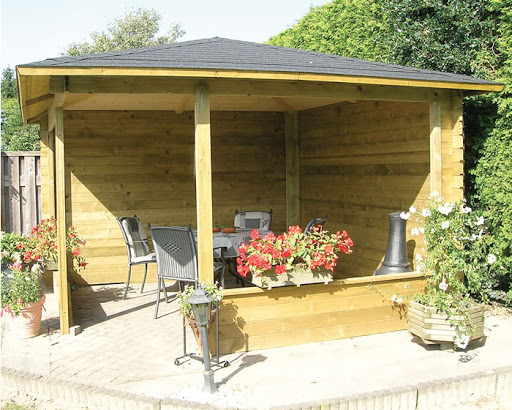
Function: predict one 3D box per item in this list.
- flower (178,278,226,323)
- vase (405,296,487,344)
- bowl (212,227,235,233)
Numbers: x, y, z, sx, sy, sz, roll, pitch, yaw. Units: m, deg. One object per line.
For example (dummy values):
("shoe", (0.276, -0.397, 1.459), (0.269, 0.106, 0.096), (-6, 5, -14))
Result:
("flower", (-0.547, 0.927, 4.503), (0.497, 0.275, 0.471), (-2, 5, -16))
("vase", (2.084, 1.213, 4.916), (0.640, 0.301, 0.576), (0, 1, 14))
("bowl", (-0.467, 0.355, 6.615), (0.238, 0.057, 0.122), (1, -1, 5))
